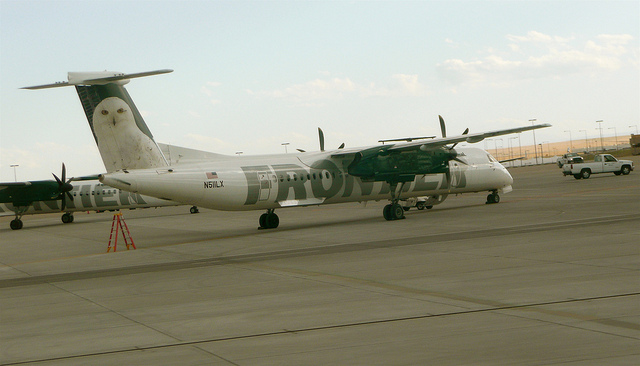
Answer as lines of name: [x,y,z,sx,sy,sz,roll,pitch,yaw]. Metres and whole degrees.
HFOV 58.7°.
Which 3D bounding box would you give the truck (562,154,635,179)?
truck: [26.389,-1.530,54.067,5.875,2.337,1.496,-4,13,4]
